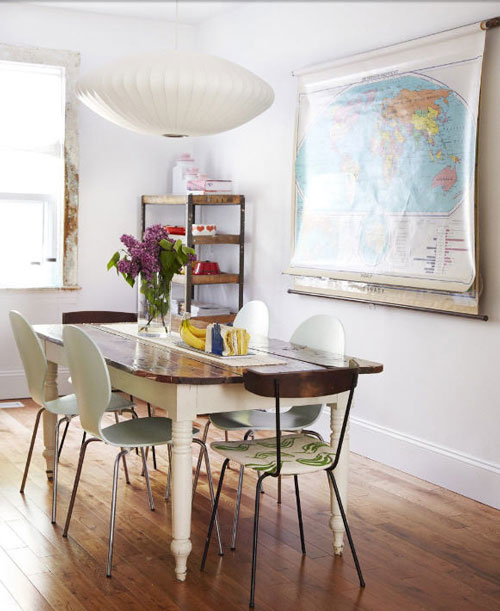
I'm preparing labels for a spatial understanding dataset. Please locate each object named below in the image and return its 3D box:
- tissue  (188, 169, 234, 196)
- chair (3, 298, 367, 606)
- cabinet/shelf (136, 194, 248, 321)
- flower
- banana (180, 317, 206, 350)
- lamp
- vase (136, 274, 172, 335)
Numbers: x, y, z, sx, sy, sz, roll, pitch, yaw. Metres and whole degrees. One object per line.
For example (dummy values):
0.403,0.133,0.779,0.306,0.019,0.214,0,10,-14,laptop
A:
-0.352,-0.966,4.327,0.319,0.095,0.294,-4,8,-40,tissue 
-0.284,0.455,1.944,1.395,0.873,0.781,1,-1,41,chair
-0.371,-0.338,3.775,0.438,0.977,1.046,-5,9,-29,cabinet/shelf
-0.563,-0.108,2.509,0.462,0.517,0.474,1,1,38,flower
-0.255,0.126,2.336,0.050,0.106,0.164,1,33,-27,banana
-0.318,-0.794,2.193,0.519,0.575,0.503,1,1,35,lamp
-0.465,0.010,2.555,0.192,0.292,0.184,6,-9,-43,vase
